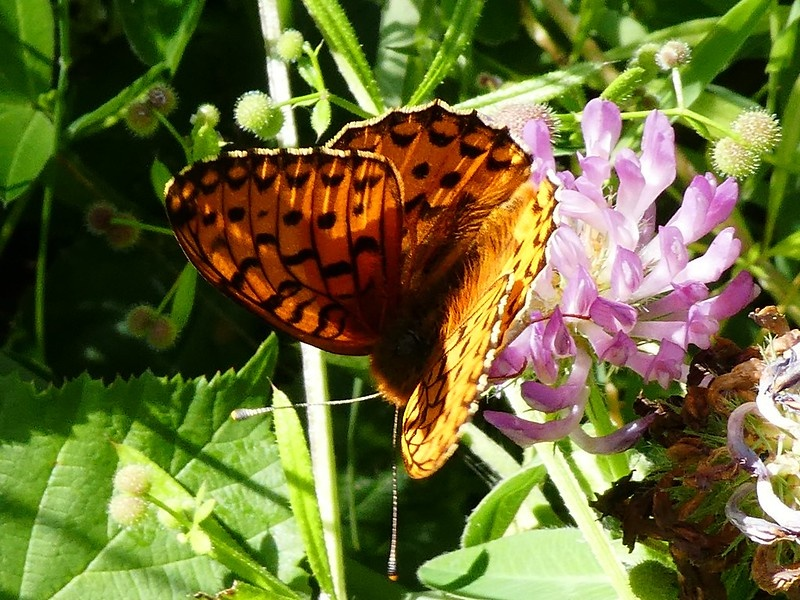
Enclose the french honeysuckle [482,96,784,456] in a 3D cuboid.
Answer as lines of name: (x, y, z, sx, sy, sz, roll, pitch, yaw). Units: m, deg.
french honeysuckle: (0.441, -0.049, 2.001, 0.543, 0.688, 0.298, 0, 14, 4)
